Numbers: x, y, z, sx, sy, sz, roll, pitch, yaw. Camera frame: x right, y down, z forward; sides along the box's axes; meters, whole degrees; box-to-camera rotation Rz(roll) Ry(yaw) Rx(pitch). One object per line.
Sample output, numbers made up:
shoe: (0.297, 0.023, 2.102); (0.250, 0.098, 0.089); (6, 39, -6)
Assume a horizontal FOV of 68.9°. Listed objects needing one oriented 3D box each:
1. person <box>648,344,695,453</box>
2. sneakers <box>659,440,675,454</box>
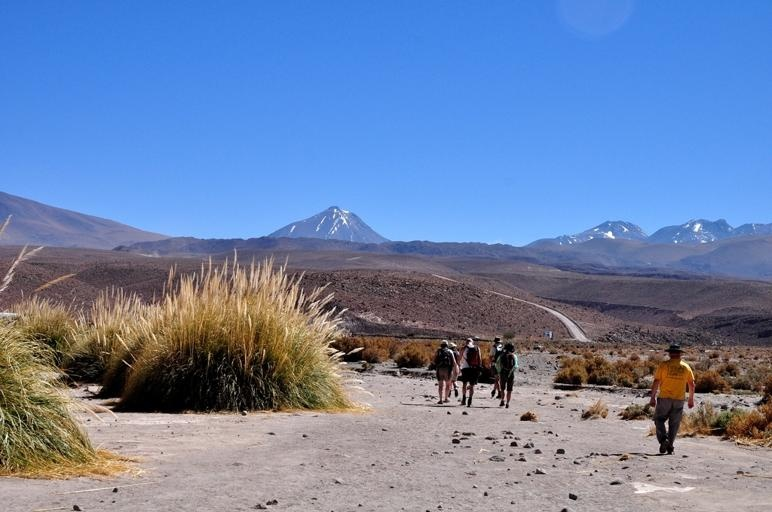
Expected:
person: (5.657, 2.776, 11.084); (0.748, 2.004, 1.512); (3, -7, 24)
sneakers: (5.228, 3.577, 10.454); (0.159, 0.137, 0.350); (0, -50, 9)
